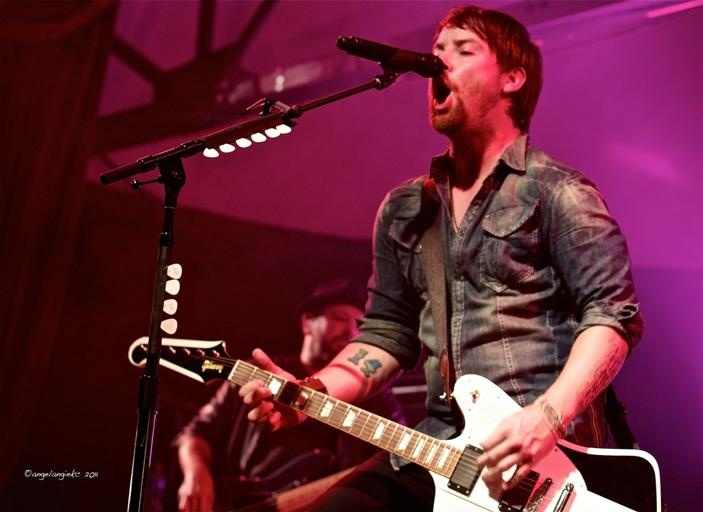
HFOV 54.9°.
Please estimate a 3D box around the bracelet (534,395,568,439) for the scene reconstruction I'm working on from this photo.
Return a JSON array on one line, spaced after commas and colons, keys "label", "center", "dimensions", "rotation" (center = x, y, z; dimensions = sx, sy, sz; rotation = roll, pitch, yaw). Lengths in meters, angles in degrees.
[{"label": "bracelet", "center": [0.810, 0.643, 2.705], "dimensions": [0.130, 0.030, 0.129], "rotation": [59, 4, -33]}]
